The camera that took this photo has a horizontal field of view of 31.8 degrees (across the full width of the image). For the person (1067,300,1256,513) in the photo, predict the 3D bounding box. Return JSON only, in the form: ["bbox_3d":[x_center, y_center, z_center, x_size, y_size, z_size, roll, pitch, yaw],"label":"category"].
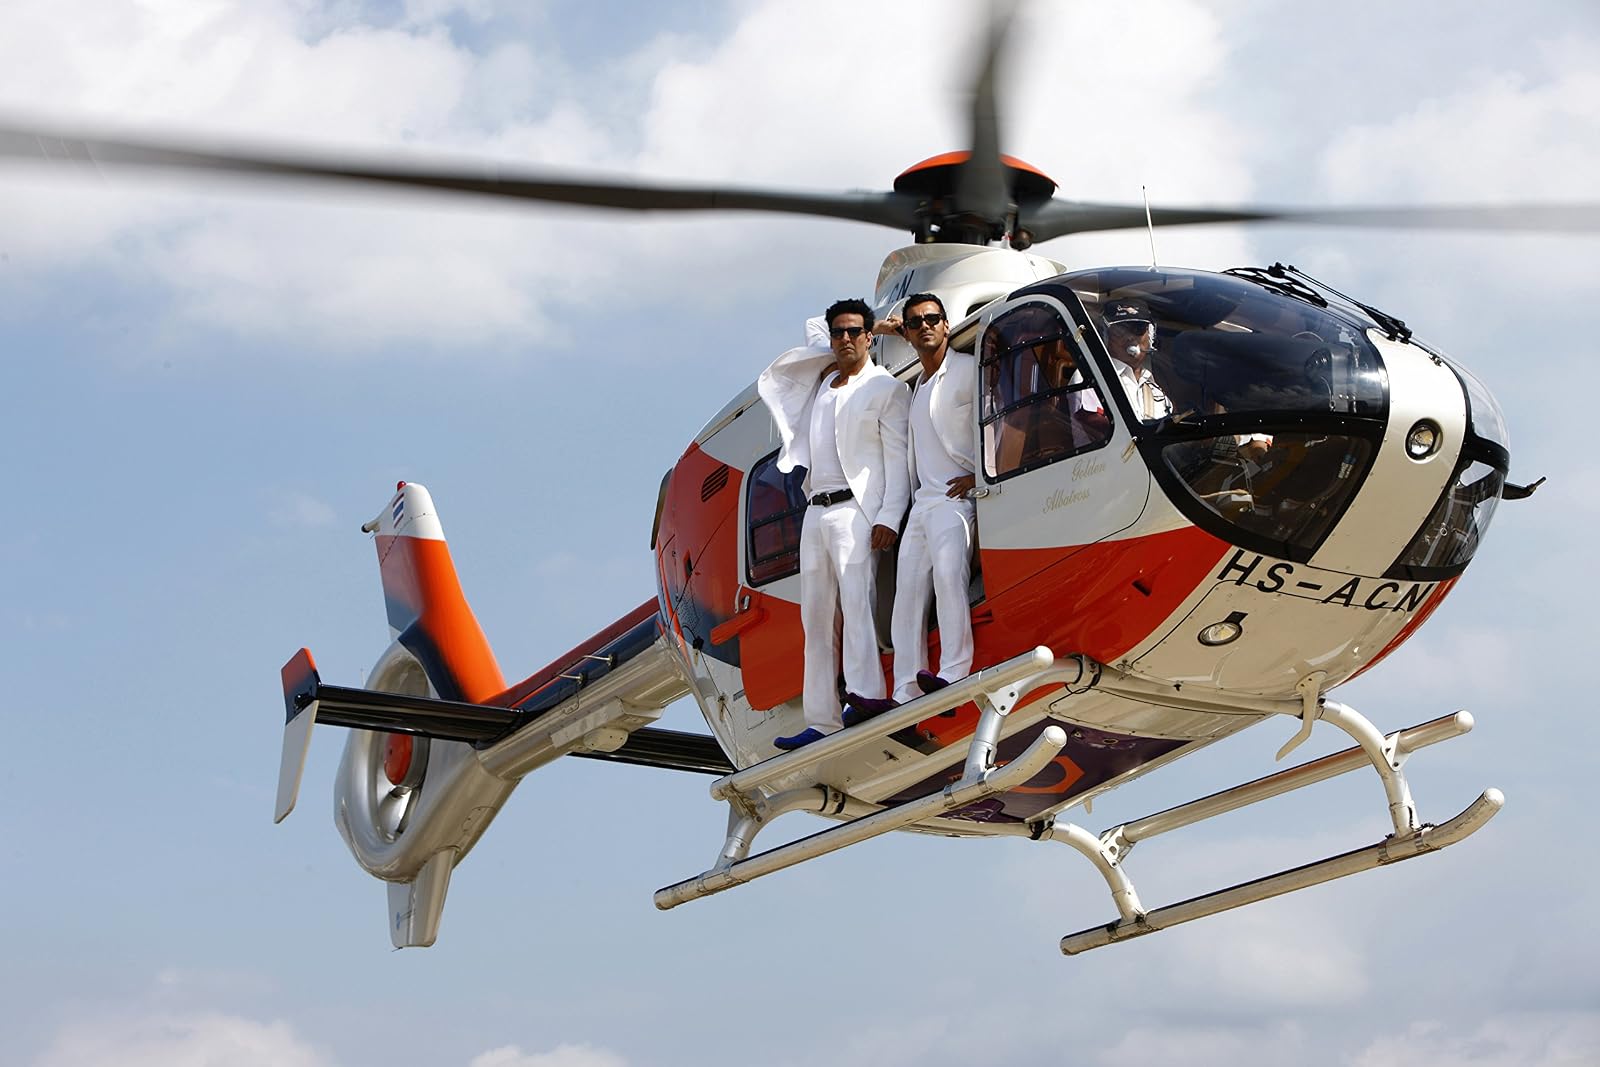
[{"bbox_3d":[2.367,-0.818,17.392,0.791,1.399,0.375,2,-30,-26],"label":"person"}]

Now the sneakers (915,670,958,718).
[{"bbox_3d":[0.835,0.950,17.893,0.199,0.273,0.391,-13,-24,1],"label":"sneakers"}]

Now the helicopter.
[{"bbox_3d":[0.721,0.216,20.144,9.112,3.031,8.107,11,-26,-38],"label":"helicopter"}]
